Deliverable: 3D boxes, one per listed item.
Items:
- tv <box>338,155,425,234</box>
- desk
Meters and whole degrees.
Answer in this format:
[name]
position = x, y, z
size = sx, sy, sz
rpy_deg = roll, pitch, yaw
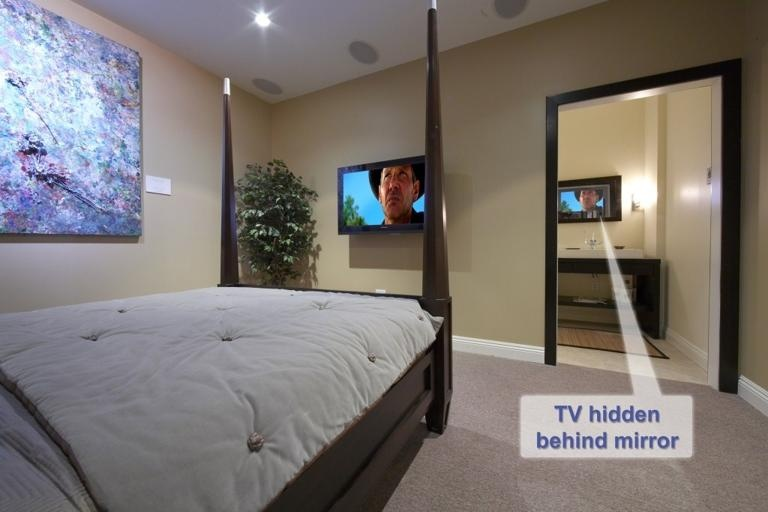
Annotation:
[tv]
position = 0.001, -0.645, 4.979
size = 0.846, 0.665, 0.091
rpy_deg = -1, -1, 29
[desk]
position = 2.719, 0.520, 5.913
size = 1.408, 1.180, 1.323
rpy_deg = 0, 9, 35
